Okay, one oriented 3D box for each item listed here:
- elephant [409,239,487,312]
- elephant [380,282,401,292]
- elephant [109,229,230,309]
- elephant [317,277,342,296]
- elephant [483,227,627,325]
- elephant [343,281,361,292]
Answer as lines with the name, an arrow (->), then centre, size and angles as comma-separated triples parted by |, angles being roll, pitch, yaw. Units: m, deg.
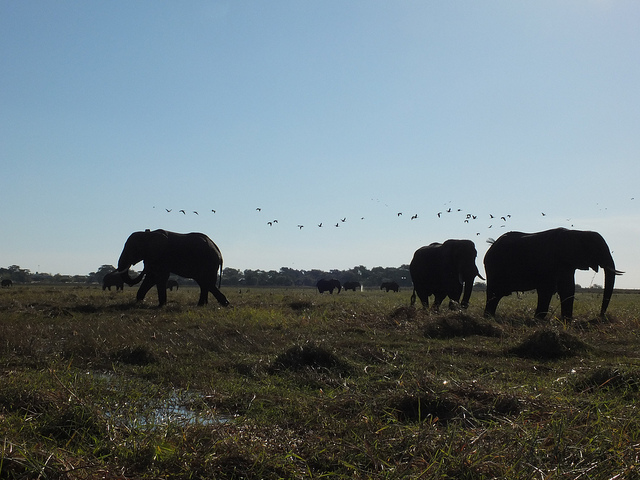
elephant -> 4.729, 1.321, 21.010 | 1.507, 2.779, 3.877 | 4, -5, -24
elephant -> 7.842, 5.108, 57.830 | 1.915, 1.153, 0.819 | 3, 4, 8
elephant -> -5.593, 1.001, 19.950 | 3.584, 2.735, 1.639 | 2, -4, -12
elephant -> 0.909, 4.671, 51.913 | 2.963, 1.923, 1.404 | -1, 4, -26
elephant -> 7.234, 1.087, 16.776 | 4.294, 3.116, 2.123 | -2, 14, 21
elephant -> 3.844, 5.330, 60.625 | 2.079, 1.237, 0.939 | -1, 0, -12
